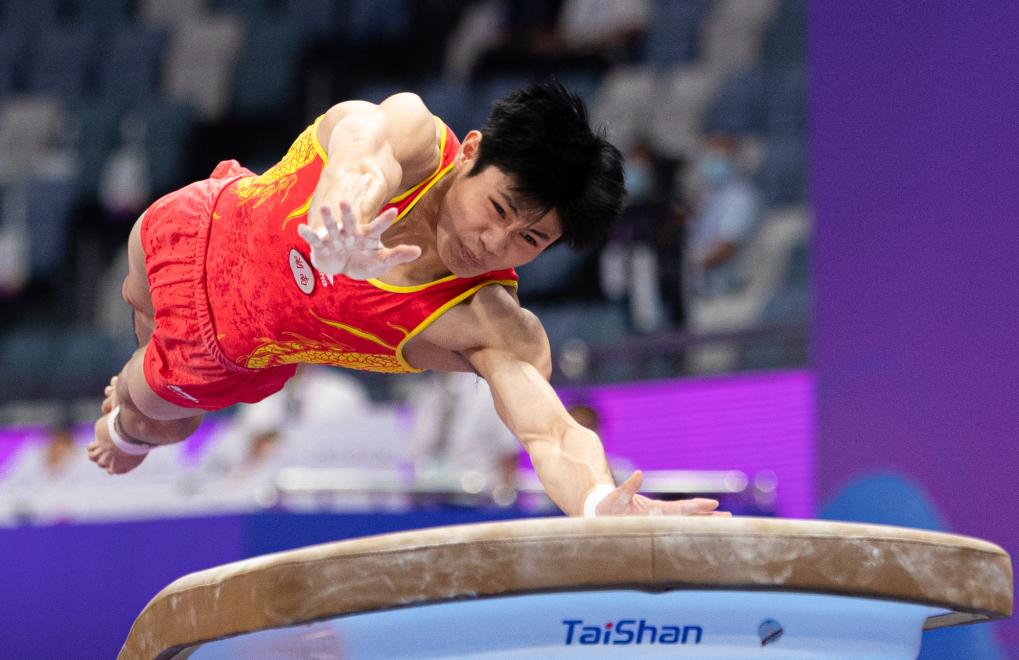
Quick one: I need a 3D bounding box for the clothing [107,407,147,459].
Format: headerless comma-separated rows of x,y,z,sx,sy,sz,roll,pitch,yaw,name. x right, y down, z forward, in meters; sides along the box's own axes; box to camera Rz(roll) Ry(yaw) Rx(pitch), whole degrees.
-1.682,0.454,7.433,0.080,0.205,0.197,-5,-11,38,clothing

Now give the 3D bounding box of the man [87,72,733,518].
-0.536,-0.128,6.819,2.602,0.973,1.382,-2,-27,46,man

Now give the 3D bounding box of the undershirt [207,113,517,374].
-0.926,-0.372,7.073,0.849,1.033,0.571,-12,-13,41,undershirt
